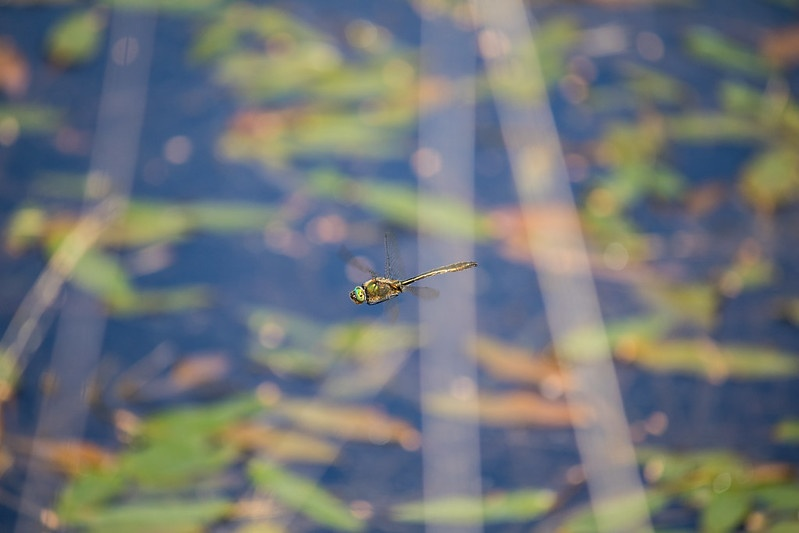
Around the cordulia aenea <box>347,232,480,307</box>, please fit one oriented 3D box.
[{"bbox_3d":[0.019,0.001,1.696,0.165,0.032,0.086,-3,65,-5],"label":"cordulia aenea"}]
